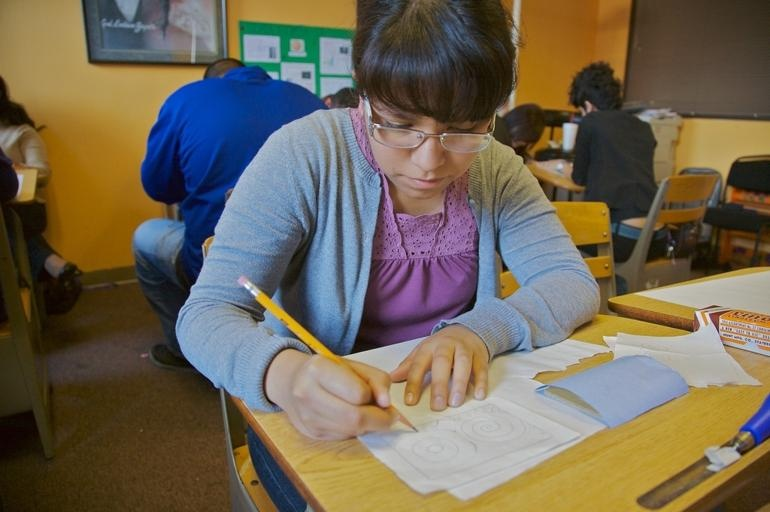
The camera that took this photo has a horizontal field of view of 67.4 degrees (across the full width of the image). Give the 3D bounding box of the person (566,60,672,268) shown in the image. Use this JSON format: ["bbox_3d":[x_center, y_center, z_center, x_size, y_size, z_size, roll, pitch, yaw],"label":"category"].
[{"bbox_3d":[1.534,-0.524,3.831,0.489,1.403,0.479,6,27,34],"label":"person"}]

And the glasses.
[{"bbox_3d":[0.116,-0.353,1.534,0.358,0.140,0.143,1,22,1],"label":"glasses"}]

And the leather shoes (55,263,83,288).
[{"bbox_3d":[-1.839,0.111,3.412,0.089,0.150,0.141,-7,5,-44],"label":"leather shoes"}]

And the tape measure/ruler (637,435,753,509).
[{"bbox_3d":[0.666,0.467,1.257,0.242,0.043,0.045,-29,57,-20],"label":"tape measure/ruler"}]
